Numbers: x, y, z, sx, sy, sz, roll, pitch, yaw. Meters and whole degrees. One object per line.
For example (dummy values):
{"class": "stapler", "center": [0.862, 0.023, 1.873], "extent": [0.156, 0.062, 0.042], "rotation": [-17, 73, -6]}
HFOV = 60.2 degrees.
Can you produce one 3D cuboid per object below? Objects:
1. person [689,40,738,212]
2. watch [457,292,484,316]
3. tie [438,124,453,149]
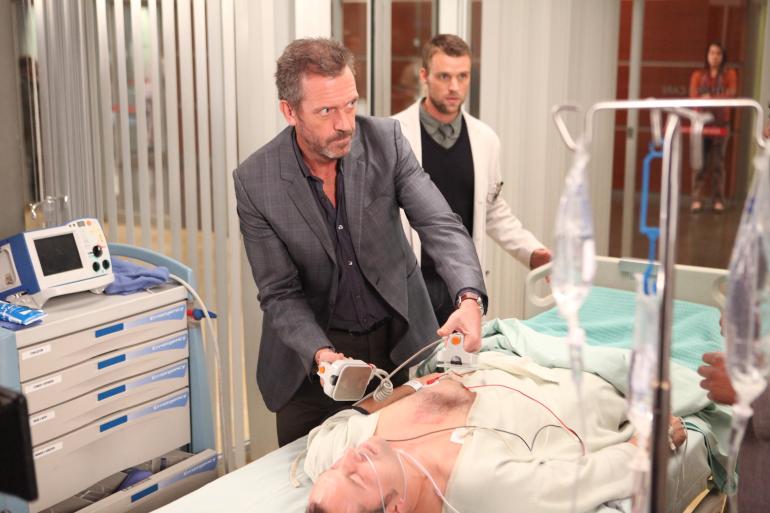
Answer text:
{"class": "person", "center": [1.962, -0.785, 4.074], "extent": [0.314, 1.028, 0.265], "rotation": [-12, 16, -38]}
{"class": "watch", "center": [0.298, 0.169, 2.322], "extent": [0.088, 0.104, 0.060], "rotation": [0, 1, 6]}
{"class": "tie", "center": [0.298, -0.583, 3.214], "extent": [0.074, 0.108, 0.031], "rotation": [-2, 10, 0]}
